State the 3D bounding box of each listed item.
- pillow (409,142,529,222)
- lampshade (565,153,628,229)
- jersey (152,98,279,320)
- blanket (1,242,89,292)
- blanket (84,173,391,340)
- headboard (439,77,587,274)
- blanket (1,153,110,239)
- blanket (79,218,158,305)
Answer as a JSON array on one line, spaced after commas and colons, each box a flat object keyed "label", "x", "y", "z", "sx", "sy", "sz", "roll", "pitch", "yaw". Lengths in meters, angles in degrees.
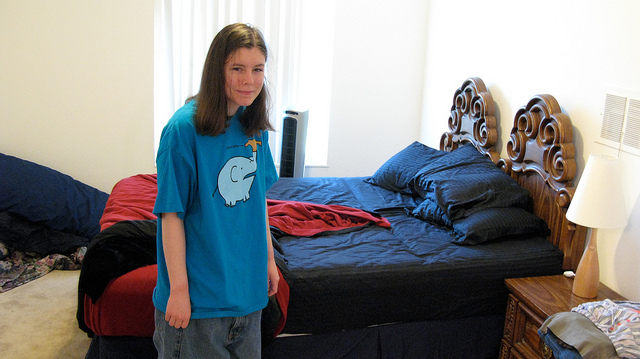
[{"label": "pillow", "x": 1.408, "y": 0.047, "z": 3.766, "sx": 0.781, "sy": 0.209, "sz": 0.678, "roll": -23, "pitch": 48, "yaw": -9}, {"label": "lampshade", "x": 2.166, "y": 0.073, "z": 3.060, "sx": 0.420, "sy": 0.479, "sz": 0.410, "roll": -3, "pitch": 12, "yaw": 7}, {"label": "jersey", "x": -0.585, "y": 0.165, "z": 2.301, "sx": 0.665, "sy": 1.246, "sz": 0.360, "roll": -5, "pitch": 12, "yaw": -16}, {"label": "blanket", "x": -2.828, "y": 0.909, "z": 4.050, "sx": 0.665, "sy": 0.173, "sz": 0.474, "roll": -8, "pitch": 29, "yaw": -41}, {"label": "blanket", "x": -0.783, "y": 0.616, "z": 3.310, "sx": 1.654, "sy": 0.387, "sz": 1.588, "roll": -4, "pitch": 26, "yaw": -18}, {"label": "headboard", "x": 1.649, "y": -0.145, "z": 3.590, "sx": 2.058, "sy": 1.376, "sz": 0.156, "roll": 12, "pitch": -14, "yaw": -31}, {"label": "blanket", "x": -3.139, "y": 0.224, "z": 4.642, "sx": 1.270, "sy": 0.308, "sz": 1.217, "roll": 20, "pitch": 22, "yaw": -24}, {"label": "blanket", "x": -1.566, "y": 0.625, "z": 3.137, "sx": 0.566, "sy": 0.516, "sz": 0.454, "roll": -6, "pitch": 11, "yaw": -24}]
